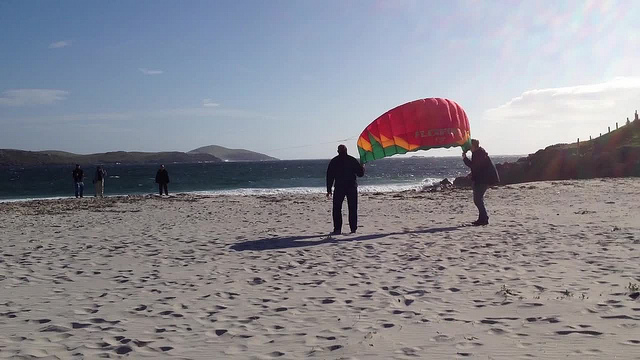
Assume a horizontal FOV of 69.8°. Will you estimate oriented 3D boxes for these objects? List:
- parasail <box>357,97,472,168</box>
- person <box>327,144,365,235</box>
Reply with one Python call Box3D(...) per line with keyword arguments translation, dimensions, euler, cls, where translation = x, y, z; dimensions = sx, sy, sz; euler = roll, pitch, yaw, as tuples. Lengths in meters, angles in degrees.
Box3D(translation=(2.904, -2.140, 16.899), dimensions=(4.537, 1.497, 3.047), euler=(-12, -4, 17), cls="parasail")
Box3D(translation=(0.684, 0.302, 13.224), dimensions=(0.916, 2.573, 1.208), euler=(12, 20, 38), cls="person")
